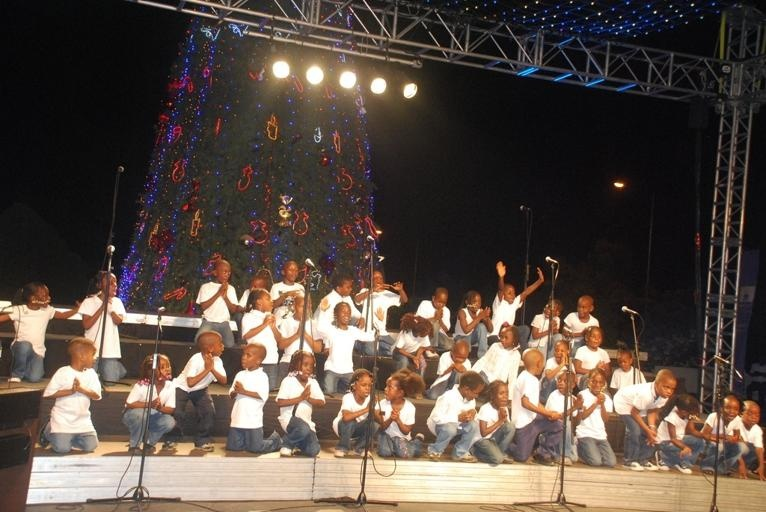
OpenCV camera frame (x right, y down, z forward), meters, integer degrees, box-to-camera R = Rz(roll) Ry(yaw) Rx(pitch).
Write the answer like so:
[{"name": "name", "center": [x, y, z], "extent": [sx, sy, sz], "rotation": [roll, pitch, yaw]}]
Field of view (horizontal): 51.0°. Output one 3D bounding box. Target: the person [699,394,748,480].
[{"name": "person", "center": [5.001, 2.572, 11.782], "extent": [0.587, 1.143, 0.656], "rotation": [5, 4, 16]}]

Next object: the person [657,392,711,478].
[{"name": "person", "center": [4.314, 2.593, 11.576], "extent": [0.699, 1.150, 0.686], "rotation": [8, 14, 13]}]

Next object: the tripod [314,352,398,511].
[{"name": "tripod", "center": [-0.259, 2.378, 10.797], "extent": [0.906, 1.889, 0.886], "rotation": [-6, -14, 34]}]

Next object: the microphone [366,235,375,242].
[{"name": "microphone", "center": [-0.166, -0.237, 10.924], "extent": [0.114, 0.050, 0.155], "rotation": [18, 2, -1]}]

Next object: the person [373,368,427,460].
[{"name": "person", "center": [0.224, 2.137, 11.112], "extent": [0.721, 1.114, 0.739], "rotation": [4, 1, -21]}]

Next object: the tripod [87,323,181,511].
[{"name": "tripod", "center": [-3.047, 2.026, 10.287], "extent": [0.842, 2.256, 0.709], "rotation": [-3, -12, 25]}]

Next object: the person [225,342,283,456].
[{"name": "person", "center": [-1.700, 1.912, 10.770], "extent": [0.664, 1.443, 0.292], "rotation": [5, -11, -12]}]

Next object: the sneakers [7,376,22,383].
[{"name": "sneakers", "center": [-5.147, 1.732, 11.310], "extent": [0.243, 0.113, 0.090], "rotation": [-2, -4, 7]}]

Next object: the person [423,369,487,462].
[{"name": "person", "center": [1.063, 2.192, 11.223], "extent": [0.714, 1.176, 0.823], "rotation": [8, 8, 29]}]
